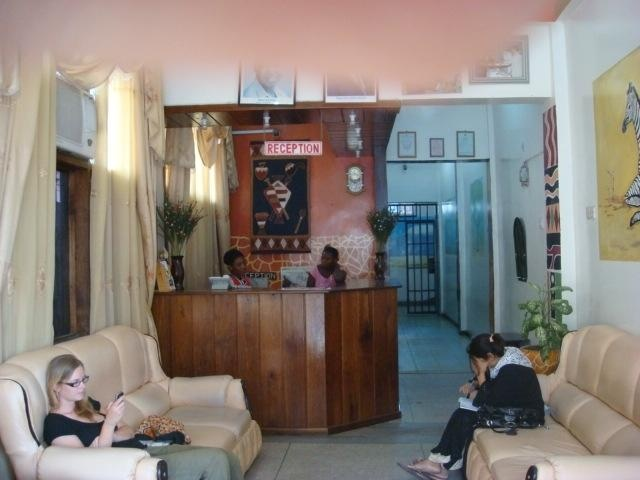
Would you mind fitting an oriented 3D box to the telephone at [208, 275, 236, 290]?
[{"bbox_3d":[-0.820,0.352,4.391,0.186,0.110,0.338,-1,1,-8],"label":"telephone"}]

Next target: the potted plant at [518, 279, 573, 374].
[{"bbox_3d":[1.709,0.695,3.957,0.373,0.703,0.353,-6,-12,36],"label":"potted plant"}]

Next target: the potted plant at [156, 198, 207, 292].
[{"bbox_3d":[-1.207,0.032,4.473,0.374,0.745,0.401,3,6,-9],"label":"potted plant"}]

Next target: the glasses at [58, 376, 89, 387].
[{"bbox_3d":[-1.180,0.671,2.482,0.063,0.021,0.067,-2,0,18],"label":"glasses"}]

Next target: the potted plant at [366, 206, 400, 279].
[{"bbox_3d":[0.746,0.083,6.296,0.340,0.790,0.324,1,2,2],"label":"potted plant"}]

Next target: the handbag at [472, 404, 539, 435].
[{"bbox_3d":[1.140,1.069,3.125,0.211,0.088,0.175,1,-2,9],"label":"handbag"}]

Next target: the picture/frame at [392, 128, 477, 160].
[{"bbox_3d":[1.509,-1.234,6.805,1.007,0.381,0.082,-1,1,4],"label":"picture/frame"}]
